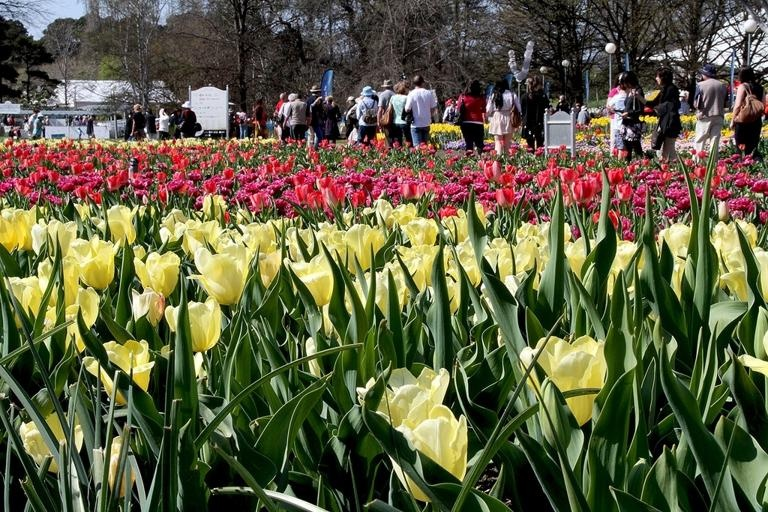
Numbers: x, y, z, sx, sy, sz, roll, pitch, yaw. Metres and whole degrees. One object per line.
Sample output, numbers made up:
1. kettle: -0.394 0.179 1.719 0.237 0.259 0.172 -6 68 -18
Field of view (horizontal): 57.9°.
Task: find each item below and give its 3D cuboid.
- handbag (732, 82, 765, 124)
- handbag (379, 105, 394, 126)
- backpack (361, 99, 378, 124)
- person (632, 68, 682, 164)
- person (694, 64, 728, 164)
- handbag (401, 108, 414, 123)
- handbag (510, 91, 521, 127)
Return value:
1. handbag: 5.748 -2.398 10.899 0.449 0.615 0.271 2 4 18
2. handbag: 0.030 -2.863 14.384 0.293 0.386 0.219 3 4 22
3. backpack: -0.336 -3.410 16.529 0.342 0.622 0.603 1 4 -1
4. person: 4.439 -2.279 11.091 0.585 1.587 1.696 3 5 23
5. person: 5.156 -2.368 10.951 0.458 1.503 1.625 3 5 25
6. handbag: 0.484 -2.684 13.317 0.080 0.235 0.199 1 2 -39
7. handbag: 2.522 -2.715 13.177 0.115 0.607 0.331 3 4 27
